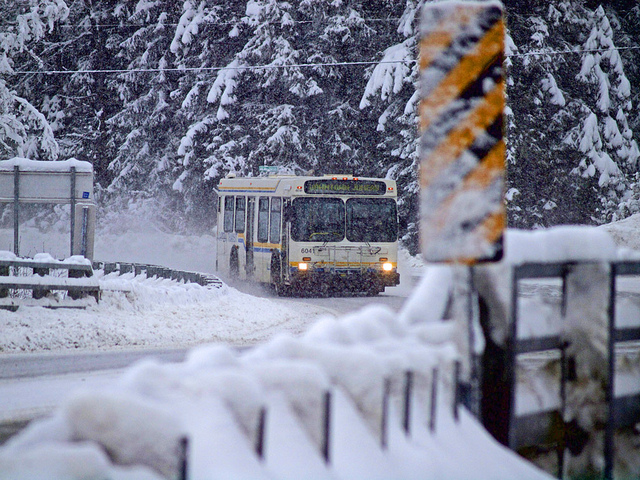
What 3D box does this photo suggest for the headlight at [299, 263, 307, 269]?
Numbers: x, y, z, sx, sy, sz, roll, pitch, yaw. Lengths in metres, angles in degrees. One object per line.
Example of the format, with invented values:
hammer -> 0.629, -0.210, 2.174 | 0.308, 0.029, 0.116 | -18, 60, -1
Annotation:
headlight -> -0.414, 0.687, 22.988 | 0.189, 0.141, 0.031 | 1, 1, -17

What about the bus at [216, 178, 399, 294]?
bus -> -0.910, -0.146, 26.807 | 2.472, 3.594, 8.206 | 1, 1, -21

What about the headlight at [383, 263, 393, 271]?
headlight -> 1.712, 0.721, 23.393 | 0.159, 0.190, 0.043 | 0, -3, -6
